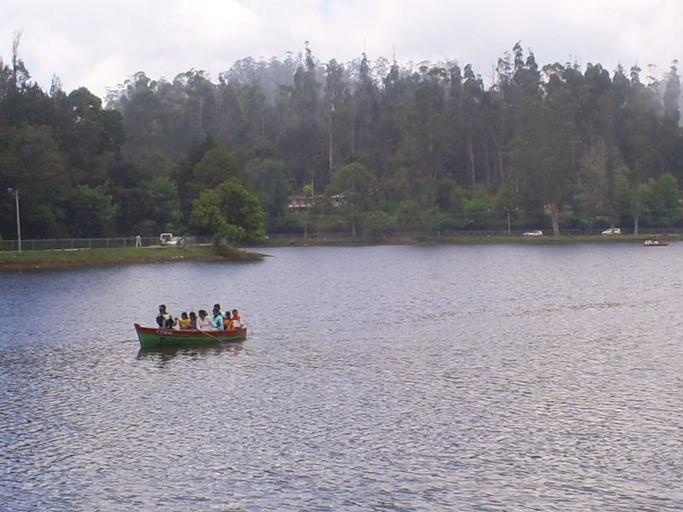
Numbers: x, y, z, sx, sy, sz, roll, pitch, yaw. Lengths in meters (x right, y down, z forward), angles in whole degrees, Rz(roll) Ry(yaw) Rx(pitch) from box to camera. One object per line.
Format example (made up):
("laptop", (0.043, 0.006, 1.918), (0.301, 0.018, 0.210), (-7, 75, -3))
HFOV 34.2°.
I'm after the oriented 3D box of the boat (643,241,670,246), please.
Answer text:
("boat", (71.105, -2.954, 250.471), (5.701, 1.884, 1.341), (-2, 6, -4))
